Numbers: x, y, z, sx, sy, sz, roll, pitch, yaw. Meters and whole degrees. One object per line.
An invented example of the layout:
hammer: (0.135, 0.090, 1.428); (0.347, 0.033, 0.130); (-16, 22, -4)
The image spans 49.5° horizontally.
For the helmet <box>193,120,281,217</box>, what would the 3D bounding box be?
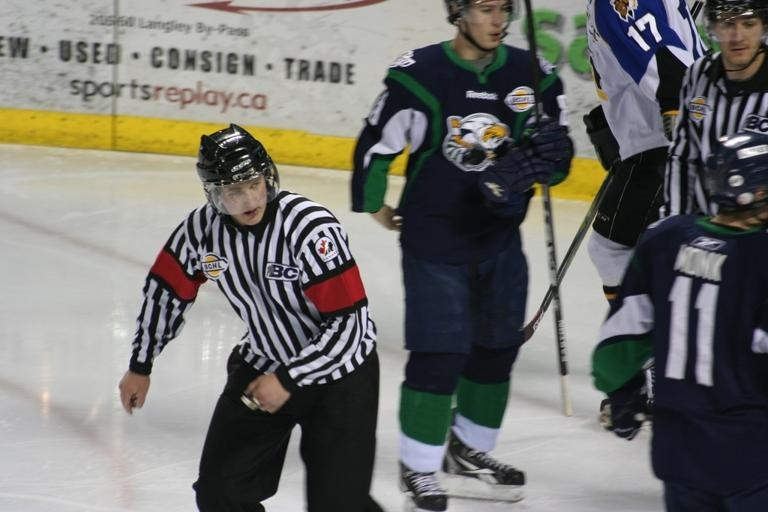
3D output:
helmet: (-0.513, -0.313, 2.878); (0.265, 0.304, 0.338); (-28, 26, -12)

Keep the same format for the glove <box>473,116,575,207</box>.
glove: (0.589, -0.369, 3.328); (0.426, 0.356, 0.145); (-1, 10, -26)
